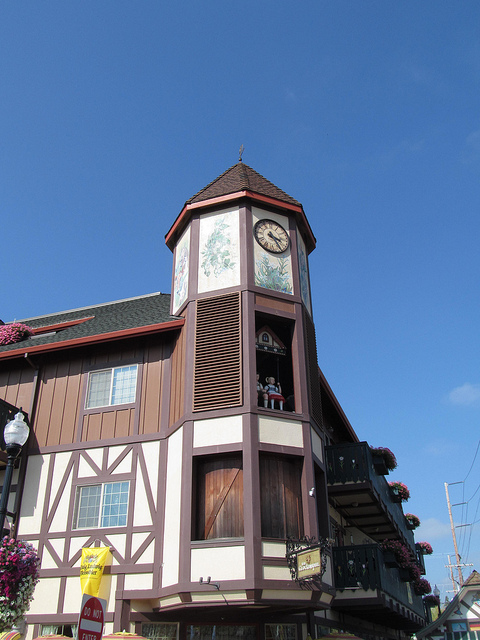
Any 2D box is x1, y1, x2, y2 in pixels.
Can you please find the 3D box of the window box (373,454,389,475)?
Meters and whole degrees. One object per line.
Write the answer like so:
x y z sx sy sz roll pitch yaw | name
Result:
4.771 4.873 16.621 0.395 0.582 0.947 -11 -32 20 | window box

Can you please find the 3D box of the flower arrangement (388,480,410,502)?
6.332 6.782 19.502 0.622 0.813 1.774 -8 -32 15 | flower arrangement

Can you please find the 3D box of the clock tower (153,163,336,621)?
0.138 0.066 12.538 3.934 12.865 3.221 5 -27 -10 | clock tower

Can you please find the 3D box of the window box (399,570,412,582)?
5.991 9.163 17.889 0.271 0.314 1.375 -11 -33 19 | window box

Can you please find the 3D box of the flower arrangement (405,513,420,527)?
8.454 9.800 24.071 0.579 0.687 1.867 -8 -32 15 | flower arrangement

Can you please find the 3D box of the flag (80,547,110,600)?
-3.430 5.632 11.126 0.607 1.245 0.295 11 3 -13 | flag
